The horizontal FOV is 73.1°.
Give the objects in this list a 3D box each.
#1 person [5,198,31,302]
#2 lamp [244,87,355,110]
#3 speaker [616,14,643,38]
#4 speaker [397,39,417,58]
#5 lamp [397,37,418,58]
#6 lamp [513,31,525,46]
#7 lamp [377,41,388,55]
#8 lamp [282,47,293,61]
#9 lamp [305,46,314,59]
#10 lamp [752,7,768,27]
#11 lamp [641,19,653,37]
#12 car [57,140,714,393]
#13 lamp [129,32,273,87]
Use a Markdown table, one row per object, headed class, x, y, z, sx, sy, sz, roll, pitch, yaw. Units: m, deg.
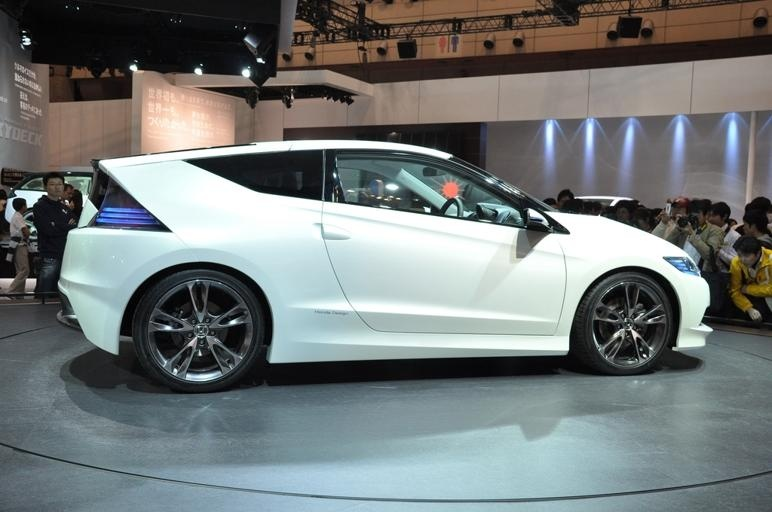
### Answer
| class | x | y | z | sx | sy | sz | roll | pitch | yaw |
| --- | --- | --- | --- | --- | --- | --- | --- | --- | --- |
| person | -6.302 | -0.163 | 8.902 | 0.374 | 1.643 | 2.381 | -5 | 11 | -35 |
| lamp | -2.521 | -4.697 | 15.231 | 3.116 | 0.541 | 1.792 | 4 | 10 | 14 |
| speaker | 6.554 | -6.298 | 14.240 | 0.662 | 0.683 | 0.656 | 7 | 21 | 11 |
| speaker | 0.656 | -6.517 | 16.178 | 0.561 | 0.619 | 0.528 | 3 | -9 | 8 |
| lamp | 0.682 | -6.557 | 16.288 | 0.592 | 0.635 | 0.634 | 0 | 17 | 10 |
| lamp | 4.163 | -6.889 | 16.289 | 0.372 | 0.425 | 0.478 | 4 | 10 | 15 |
| lamp | -0.113 | -7.152 | 17.549 | 0.326 | 0.507 | 0.099 | 1 | -7 | 36 |
| lamp | -3.523 | -7.296 | 18.667 | 0.353 | 0.390 | 0.327 | -1 | 9 | -12 |
| lamp | -2.686 | -7.299 | 18.439 | 0.364 | 0.436 | 0.249 | 4 | 10 | 16 |
| lamp | 9.916 | -6.346 | 13.815 | 0.313 | 0.528 | 0.501 | 2 | 16 | 26 |
| lamp | 7.539 | -6.628 | 15.143 | 0.345 | 0.532 | 0.490 | -1 | -1 | 17 |
| car | -0.055 | 0.145 | 4.893 | 4.558 | 1.710 | 2.374 | -1 | 1 | -12 |
| lamp | -3.179 | -3.659 | 9.451 | 1.318 | 0.367 | 1.308 | -2 | -6 | -21 |
